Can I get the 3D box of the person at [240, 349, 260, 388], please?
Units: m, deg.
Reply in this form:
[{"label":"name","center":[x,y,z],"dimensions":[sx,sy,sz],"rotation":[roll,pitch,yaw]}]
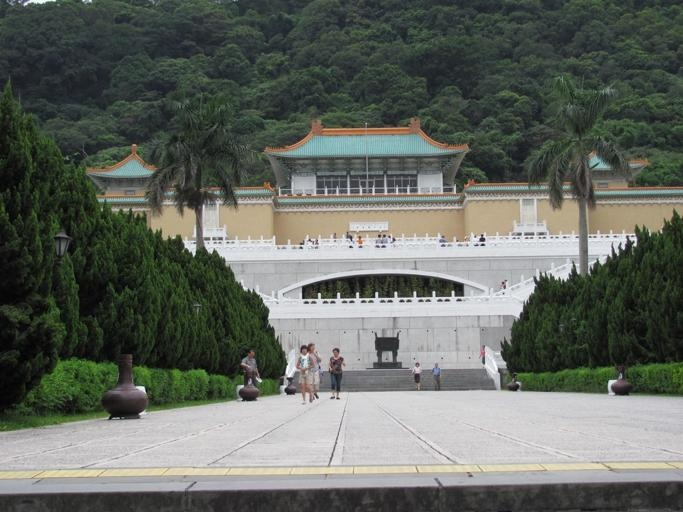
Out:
[{"label":"person","center":[-3.011,3.680,34.423],"dimensions":[0.465,1.226,1.907],"rotation":[-2,0,-2]}]
